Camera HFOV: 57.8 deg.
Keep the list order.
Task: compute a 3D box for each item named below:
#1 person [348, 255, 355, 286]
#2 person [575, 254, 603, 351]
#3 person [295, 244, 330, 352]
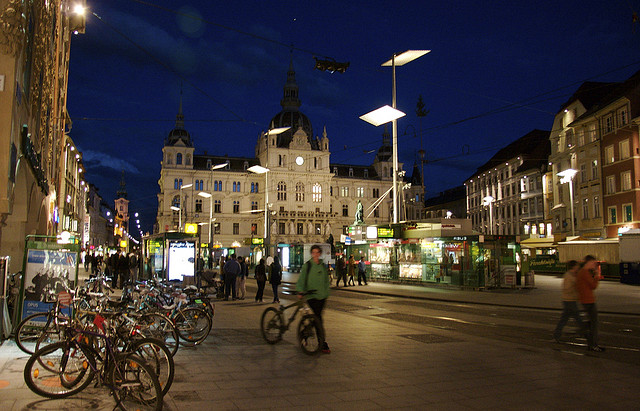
[{"bbox_3d":[2.016,4.267,37.919,0.413,1.957,1.131,0,-9,3],"label":"person"},{"bbox_3d":[8.072,2.905,17.430,0.647,2.814,0.444,3,-9,-14],"label":"person"},{"bbox_3d":[-0.220,2.689,17.020,1.030,3.065,0.854,-4,-10,24],"label":"person"}]
